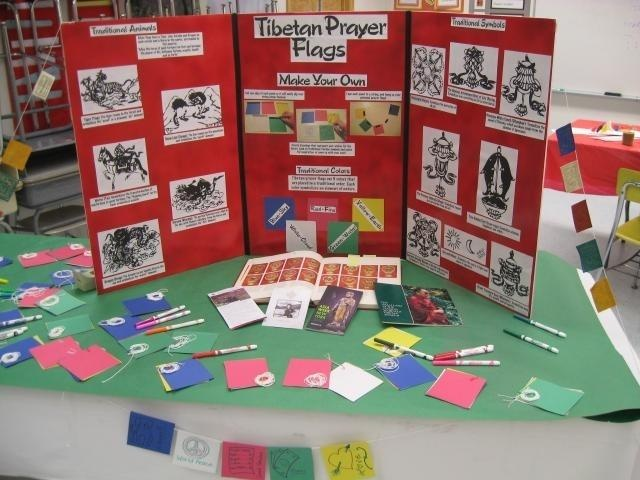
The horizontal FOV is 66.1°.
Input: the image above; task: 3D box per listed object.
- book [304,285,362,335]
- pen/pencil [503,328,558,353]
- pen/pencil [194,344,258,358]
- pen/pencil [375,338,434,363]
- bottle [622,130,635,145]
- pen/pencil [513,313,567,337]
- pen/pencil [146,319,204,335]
[{"bbox_3d":[0.059,0.258,1.784,0.122,0.016,0.199,9,38,15],"label":"book"},{"bbox_3d":[0.708,0.340,1.647,0.151,0.023,0.018,18,63,36],"label":"pen/pencil"},{"bbox_3d":[-0.313,0.370,1.626,0.135,0.016,0.016,-6,-10,-11],"label":"pen/pencil"},{"bbox_3d":[0.275,0.368,1.618,0.157,0.019,0.018,16,15,21],"label":"pen/pencil"},{"bbox_3d":[2.202,-0.724,3.507,0.067,0.100,0.070,-2,21,1],"label":"bottle"},{"bbox_3d":[0.765,0.300,1.709,0.142,0.024,0.026,20,49,37],"label":"pen/pencil"},{"bbox_3d":[-0.516,0.310,1.735,0.148,0.017,0.018,-9,-16,-29],"label":"pen/pencil"}]
